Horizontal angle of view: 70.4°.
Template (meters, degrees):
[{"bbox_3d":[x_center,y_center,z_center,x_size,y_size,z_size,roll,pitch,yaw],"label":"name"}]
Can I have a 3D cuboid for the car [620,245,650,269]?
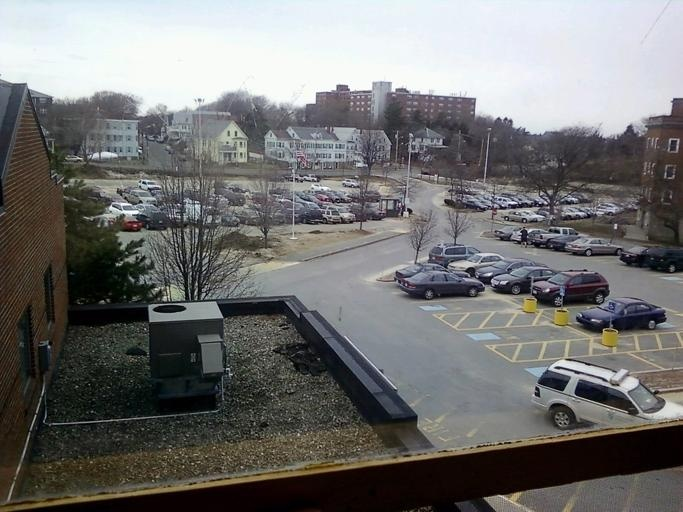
[{"bbox_3d":[18.136,0.077,29.860,2.046,0.596,0.804,-9,16,-23],"label":"car"}]

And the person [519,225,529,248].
[{"bbox_3d":[13.676,-1.370,36.140,0.581,1.311,1.422,5,13,20],"label":"person"}]

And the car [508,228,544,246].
[{"bbox_3d":[14.848,-1.494,37.495,2.892,0.818,1.244,-8,16,-21],"label":"car"}]

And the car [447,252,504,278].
[{"bbox_3d":[7.664,0.584,27.144,3.072,0.892,1.264,-5,12,-23],"label":"car"}]

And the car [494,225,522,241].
[{"bbox_3d":[13.644,-1.789,38.589,2.243,0.583,0.986,-10,17,-24],"label":"car"}]

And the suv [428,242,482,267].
[{"bbox_3d":[6.731,-0.177,28.723,2.654,0.951,1.327,-8,14,-23],"label":"suv"}]

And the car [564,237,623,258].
[{"bbox_3d":[17.489,-0.541,33.505,3.503,0.931,1.435,-2,10,-12],"label":"car"}]

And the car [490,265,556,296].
[{"bbox_3d":[8.923,1.216,23.639,3.072,0.879,1.274,-4,8,-21],"label":"car"}]

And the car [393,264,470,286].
[{"bbox_3d":[4.170,0.675,23.973,3.296,0.930,1.406,-5,11,-20],"label":"car"}]

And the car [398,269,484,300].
[{"bbox_3d":[4.698,1.255,22.575,3.517,0.937,1.409,-4,9,-14],"label":"car"}]

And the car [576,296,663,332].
[{"bbox_3d":[10.225,2.169,17.639,3.093,0.871,1.263,-1,5,-15],"label":"car"}]

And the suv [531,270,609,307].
[{"bbox_3d":[10.390,1.425,22.076,3.602,1.405,1.843,0,5,-11],"label":"suv"}]

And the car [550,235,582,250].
[{"bbox_3d":[15.624,-0.877,34.325,2.067,0.590,0.885,-8,16,-19],"label":"car"}]

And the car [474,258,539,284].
[{"bbox_3d":[8.811,0.728,25.676,3.039,0.876,1.266,-4,8,-25],"label":"car"}]

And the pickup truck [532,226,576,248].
[{"bbox_3d":[16.306,-1.156,37.083,4.089,1.299,1.703,-8,15,-19],"label":"pickup truck"}]
